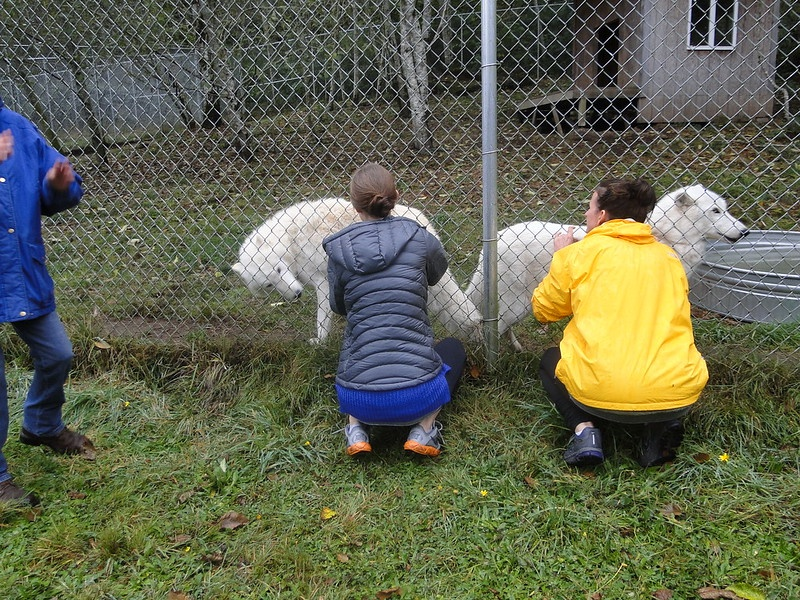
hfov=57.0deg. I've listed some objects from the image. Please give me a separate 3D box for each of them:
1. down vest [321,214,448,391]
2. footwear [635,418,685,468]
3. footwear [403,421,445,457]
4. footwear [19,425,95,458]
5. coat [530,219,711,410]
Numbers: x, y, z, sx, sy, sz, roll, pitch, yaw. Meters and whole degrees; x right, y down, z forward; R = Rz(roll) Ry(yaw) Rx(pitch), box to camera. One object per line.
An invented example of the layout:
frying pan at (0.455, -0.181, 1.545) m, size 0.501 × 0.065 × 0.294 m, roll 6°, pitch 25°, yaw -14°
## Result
down vest at (0.014, 0.007, 5.151) m, size 1.098 × 1.337 × 1.032 m, roll -4°, pitch 1°, yaw 7°
footwear at (1.618, 0.882, 4.582) m, size 0.166 × 0.421 × 0.185 m, roll 12°, pitch 37°, yaw 6°
footwear at (0.152, 0.920, 4.877) m, size 0.134 × 0.159 × 0.341 m, roll 7°, pitch 1°, yaw 27°
footwear at (-2.306, 0.965, 5.086) m, size 0.563 × 0.225 × 0.195 m, roll 4°, pitch 34°, yaw -36°
coat at (1.377, 0.025, 4.781) m, size 0.940 × 1.077 × 1.184 m, roll -5°, pitch 15°, yaw 0°
